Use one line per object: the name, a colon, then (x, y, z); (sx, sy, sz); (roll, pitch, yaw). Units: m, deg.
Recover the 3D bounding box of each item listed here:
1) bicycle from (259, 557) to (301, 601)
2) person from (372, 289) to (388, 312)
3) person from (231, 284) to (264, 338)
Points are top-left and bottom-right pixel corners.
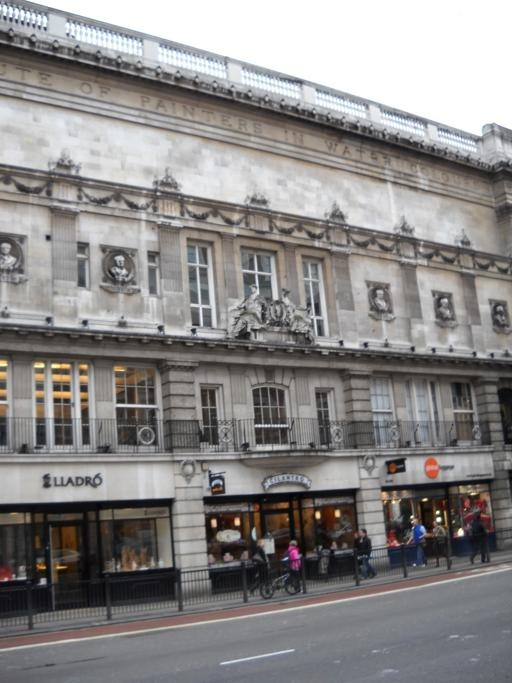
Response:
bicycle: (0.472, 6.732, 21.135); (1.416, 0.824, 0.680); (0, 0, -40)
person: (5.049, -1.675, 30.970); (0.284, 1.051, 0.810); (-20, -25, 40)
person: (-0.356, -0.922, 26.337); (1.331, 1.714, 0.652); (-5, -15, -8)
